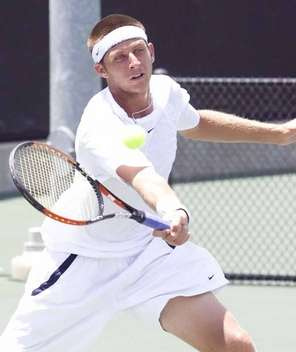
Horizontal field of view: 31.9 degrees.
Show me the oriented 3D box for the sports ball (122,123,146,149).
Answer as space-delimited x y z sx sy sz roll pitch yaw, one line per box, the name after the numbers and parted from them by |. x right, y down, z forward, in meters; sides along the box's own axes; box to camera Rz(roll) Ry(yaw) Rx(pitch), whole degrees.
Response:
-0.044 -0.141 1.881 0.102 0.089 0.089 1 8 4 | sports ball

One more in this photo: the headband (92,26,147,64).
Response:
-0.112 -0.567 2.162 0.188 0.060 0.166 -25 1 -19 | headband
